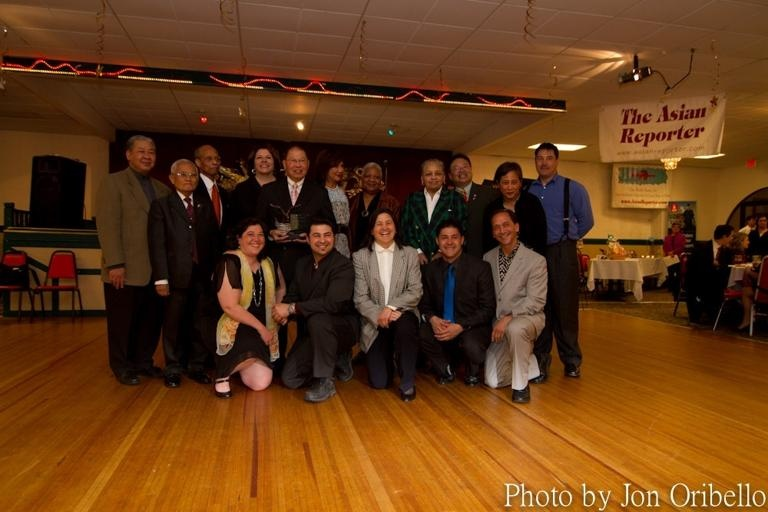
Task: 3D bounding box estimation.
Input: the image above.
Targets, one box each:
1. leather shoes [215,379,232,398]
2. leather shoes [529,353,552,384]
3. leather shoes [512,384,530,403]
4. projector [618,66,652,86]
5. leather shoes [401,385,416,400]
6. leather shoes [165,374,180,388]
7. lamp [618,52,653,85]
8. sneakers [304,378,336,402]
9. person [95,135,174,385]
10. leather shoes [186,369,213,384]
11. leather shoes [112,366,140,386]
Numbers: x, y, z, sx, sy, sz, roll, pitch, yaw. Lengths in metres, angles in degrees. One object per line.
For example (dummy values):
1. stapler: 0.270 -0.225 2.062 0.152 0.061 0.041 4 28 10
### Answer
1. leather shoes: -1.414 1.146 4.672 0.146 0.160 0.175 -1 4 -18
2. leather shoes: 1.517 1.070 5.073 0.147 0.338 0.136 35 -28 -25
3. leather shoes: 1.188 1.191 4.600 0.160 0.134 0.140 1 4 13
4. projector: 3.353 -2.396 7.131 0.224 0.172 0.382 -19 6 -44
5. leather shoes: 0.209 1.188 4.621 0.132 0.115 0.100 0 4 3
6. leather shoes: -1.920 1.133 4.822 0.138 0.129 0.086 -3 4 -14
7. lamp: 3.381 -2.521 7.152 0.294 0.295 0.444 0 4 2
8. sneakers: -0.542 1.179 4.669 0.133 0.154 0.324 -5 -7 37
9. person: -2.324 0.162 4.919 0.554 1.979 0.358 -2 5 -30
10. leather shoes: -1.711 1.129 5.008 0.286 0.119 0.106 11 1 17
11. leather shoes: -2.366 1.104 4.872 0.324 0.126 0.119 0 -3 26
